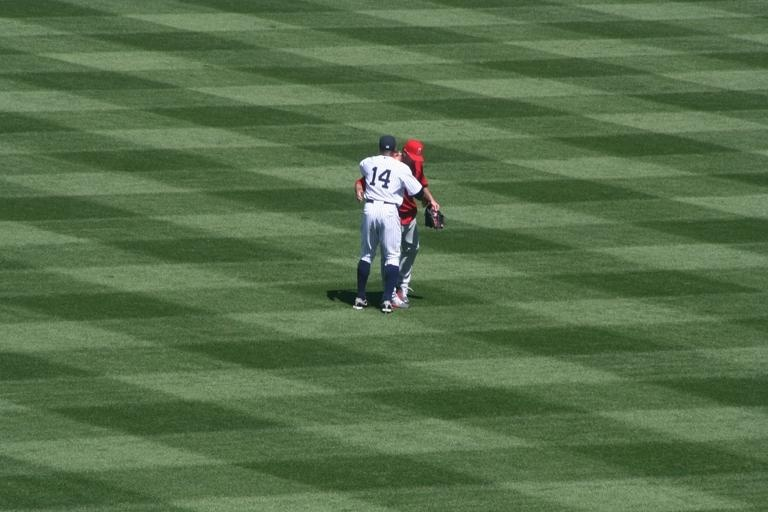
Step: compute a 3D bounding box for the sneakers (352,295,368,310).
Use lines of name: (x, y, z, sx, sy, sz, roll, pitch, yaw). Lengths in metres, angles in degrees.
sneakers: (-0.252, 0.596, 24.374, 0.247, 0.166, 0.405, 1, 0, 3)

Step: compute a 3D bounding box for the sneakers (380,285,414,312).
sneakers: (0.196, 0.579, 24.424, 0.188, 0.190, 0.512, 5, 9, 31)

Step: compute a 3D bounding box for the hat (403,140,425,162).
hat: (0.395, -1.254, 24.518, 0.245, 0.177, 0.306, -4, 39, -40)
